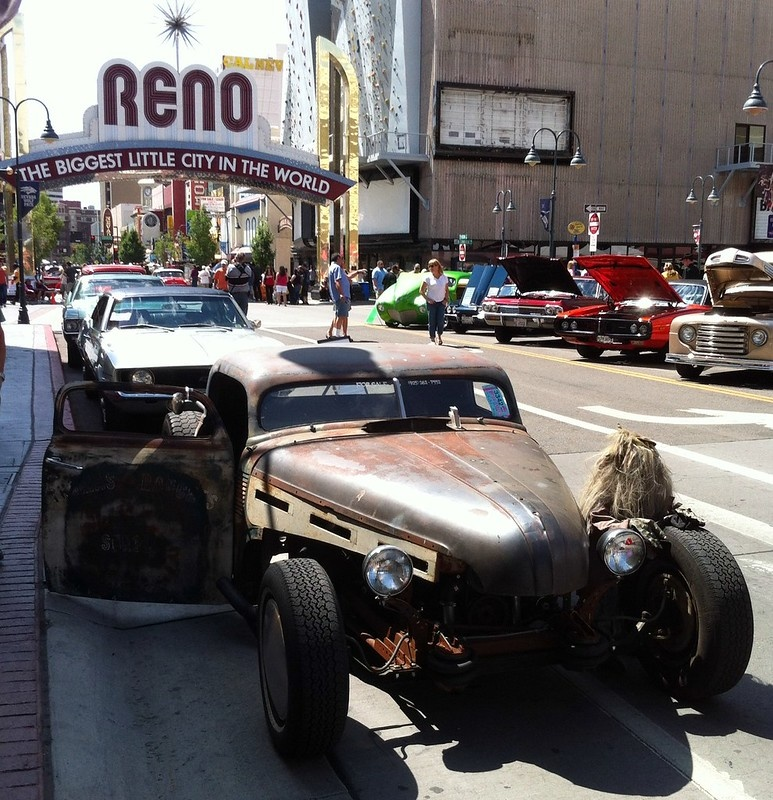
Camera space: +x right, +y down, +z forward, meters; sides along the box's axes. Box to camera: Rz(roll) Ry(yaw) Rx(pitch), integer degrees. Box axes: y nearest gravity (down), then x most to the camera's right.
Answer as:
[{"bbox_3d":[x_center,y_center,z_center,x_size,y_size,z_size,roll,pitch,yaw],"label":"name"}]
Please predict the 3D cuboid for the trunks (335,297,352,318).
[{"bbox_3d":[-1.039,-2.203,18.998,0.350,0.375,0.531,9,5,-3],"label":"trunks"}]

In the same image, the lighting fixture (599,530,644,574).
[{"bbox_3d":[0.939,0.607,3.203,0.176,0.188,0.123,3,7,18],"label":"lighting fixture"}]

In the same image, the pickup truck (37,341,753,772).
[{"bbox_3d":[-0.197,0.559,3.901,1.820,1.085,2.502,0,2,-25],"label":"pickup truck"}]

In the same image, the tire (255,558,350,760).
[{"bbox_3d":[-0.318,0.988,3.027,0.172,0.631,0.523,1,-12,-22],"label":"tire"}]

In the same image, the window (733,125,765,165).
[{"bbox_3d":[23.903,-16.774,52.896,2.122,3.517,0.203,8,-14,-11],"label":"window"}]

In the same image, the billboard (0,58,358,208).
[{"bbox_3d":[-8.678,-11.453,33.750,11.871,4.779,1.472,-1,6,-16],"label":"billboard"}]

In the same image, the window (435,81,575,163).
[{"bbox_3d":[6.921,-16.934,49.019,7.978,4.086,0.659,-1,6,-10],"label":"window"}]

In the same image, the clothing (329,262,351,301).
[{"bbox_3d":[-1.077,-2.848,18.955,0.528,1.256,1.118,-3,12,-7],"label":"clothing"}]

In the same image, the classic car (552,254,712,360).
[{"bbox_3d":[4.935,-1.934,16.908,1.687,1.784,2.966,3,4,44],"label":"classic car"}]

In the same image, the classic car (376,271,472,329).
[{"bbox_3d":[1.230,-3.241,26.219,1.593,1.335,2.650,6,10,45],"label":"classic car"}]

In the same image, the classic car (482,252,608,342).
[{"bbox_3d":[3.768,-2.646,20.270,1.630,1.538,2.928,4,5,41],"label":"classic car"}]

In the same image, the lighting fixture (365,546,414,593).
[{"bbox_3d":[0.015,0.596,2.882,0.134,0.182,0.157,0,2,-18],"label":"lighting fixture"}]

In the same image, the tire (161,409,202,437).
[{"bbox_3d":[-1.282,0.139,5.049,0.124,0.172,0.147,-1,-14,-1],"label":"tire"}]

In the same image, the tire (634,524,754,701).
[{"bbox_3d":[1.360,0.975,3.569,0.252,0.785,0.517,-2,7,-20],"label":"tire"}]
